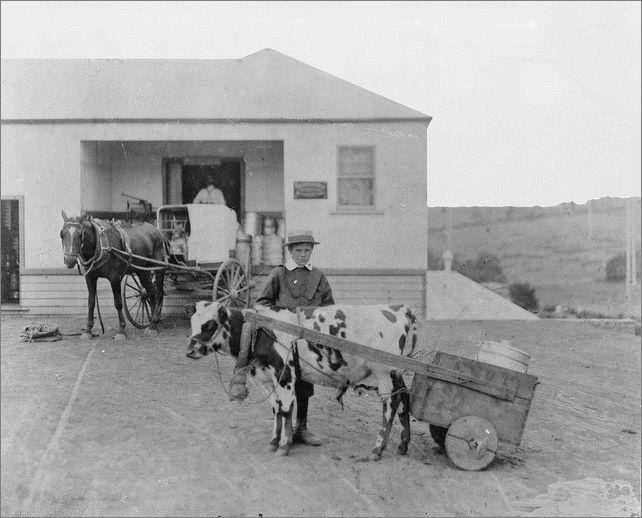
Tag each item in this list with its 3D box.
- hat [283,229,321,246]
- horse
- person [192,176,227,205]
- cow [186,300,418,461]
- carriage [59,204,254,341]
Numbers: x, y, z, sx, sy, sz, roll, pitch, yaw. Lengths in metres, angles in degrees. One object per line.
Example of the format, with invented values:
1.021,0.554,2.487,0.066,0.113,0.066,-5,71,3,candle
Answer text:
-0.233,-0.243,9.200,0.349,0.226,0.301,0,15,-9,hat
-3.253,0.291,13.429,0.746,1.969,2.423,-1,-3,28,horse
-2.034,-1.271,15.359,0.571,0.750,0.391,1,-4,7,person
-0.133,1.244,8.891,2.260,1.542,0.608,3,14,4,cow
-2.661,0.224,13.285,1.715,1.681,2.834,-9,-12,31,carriage
